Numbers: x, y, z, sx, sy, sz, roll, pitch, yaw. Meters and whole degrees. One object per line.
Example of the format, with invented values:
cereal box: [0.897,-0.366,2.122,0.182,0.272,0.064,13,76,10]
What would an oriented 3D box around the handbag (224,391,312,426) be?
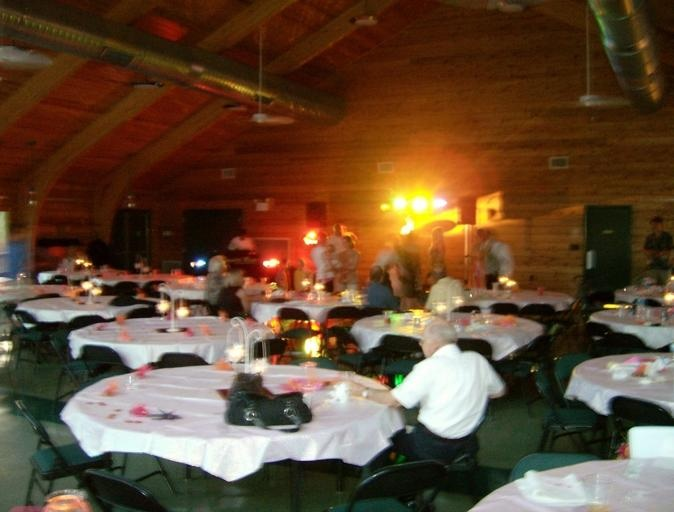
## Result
handbag: [-0.423,0.913,3.457,0.359,0.083,0.290,1,-2,-8]

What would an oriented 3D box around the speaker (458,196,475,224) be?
speaker: [2.917,-1.026,12.847,0.394,0.647,0.158,-1,0,9]

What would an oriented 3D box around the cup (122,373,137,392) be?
cup: [-1.537,0.951,4.237,0.116,0.080,0.093,2,0,-3]

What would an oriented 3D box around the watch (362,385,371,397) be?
watch: [0.192,0.932,3.903,0.052,0.045,0.028,-6,10,45]

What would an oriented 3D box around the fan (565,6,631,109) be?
fan: [5.035,-3.897,11.017,0.841,2.509,2.450,-1,-1,21]
